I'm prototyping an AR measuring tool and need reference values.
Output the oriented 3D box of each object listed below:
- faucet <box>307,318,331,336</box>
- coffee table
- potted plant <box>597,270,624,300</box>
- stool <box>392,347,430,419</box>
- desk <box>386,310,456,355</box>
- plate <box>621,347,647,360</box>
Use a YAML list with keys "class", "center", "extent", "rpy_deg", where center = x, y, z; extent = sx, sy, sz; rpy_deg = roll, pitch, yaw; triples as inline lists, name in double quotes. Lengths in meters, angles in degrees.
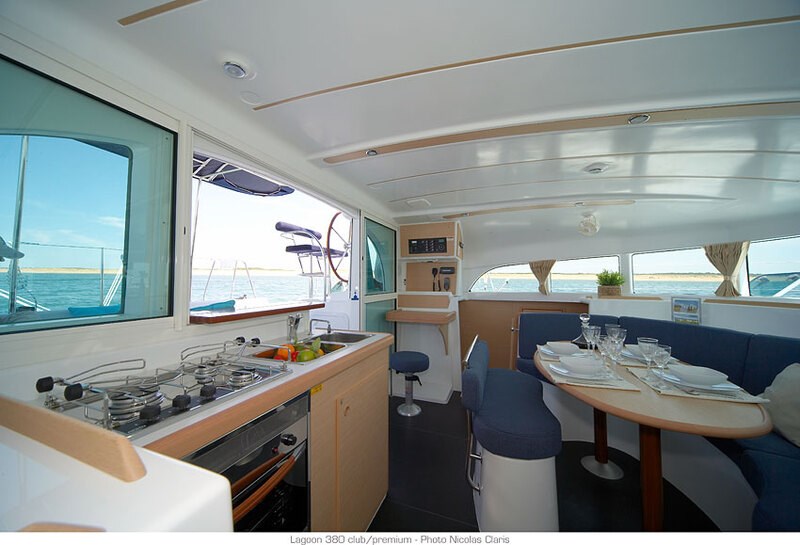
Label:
- class: "faucet"
  center: [-0.659, 0.423, 3.729]
  extent: [0.243, 0.070, 0.166]
  rpy_deg: [-1, 0, 7]
- class: "coffee table"
  center: [1.397, 0.788, 2.769]
  extent: [0.947, 0.803, 1.683]
  rpy_deg: [-2, 3, -6]
- class: "potted plant"
  center: [2.025, 0.104, 4.649]
  extent: [0.255, 0.320, 0.322]
  rpy_deg: [2, 0, 11]
- class: "stool"
  center: [0.098, 1.062, 4.585]
  extent: [0.513, 0.708, 0.490]
  rpy_deg: [1, -5, 6]
- class: "desk"
  center: [0.206, 0.626, 4.947]
  extent: [0.680, 0.478, 0.407]
  rpy_deg: [-2, 0, 17]
- class: "plate"
  center: [1.622, 0.566, 3.267]
  extent: [0.163, 0.056, 0.159]
  rpy_deg: [-2, 0, 4]
